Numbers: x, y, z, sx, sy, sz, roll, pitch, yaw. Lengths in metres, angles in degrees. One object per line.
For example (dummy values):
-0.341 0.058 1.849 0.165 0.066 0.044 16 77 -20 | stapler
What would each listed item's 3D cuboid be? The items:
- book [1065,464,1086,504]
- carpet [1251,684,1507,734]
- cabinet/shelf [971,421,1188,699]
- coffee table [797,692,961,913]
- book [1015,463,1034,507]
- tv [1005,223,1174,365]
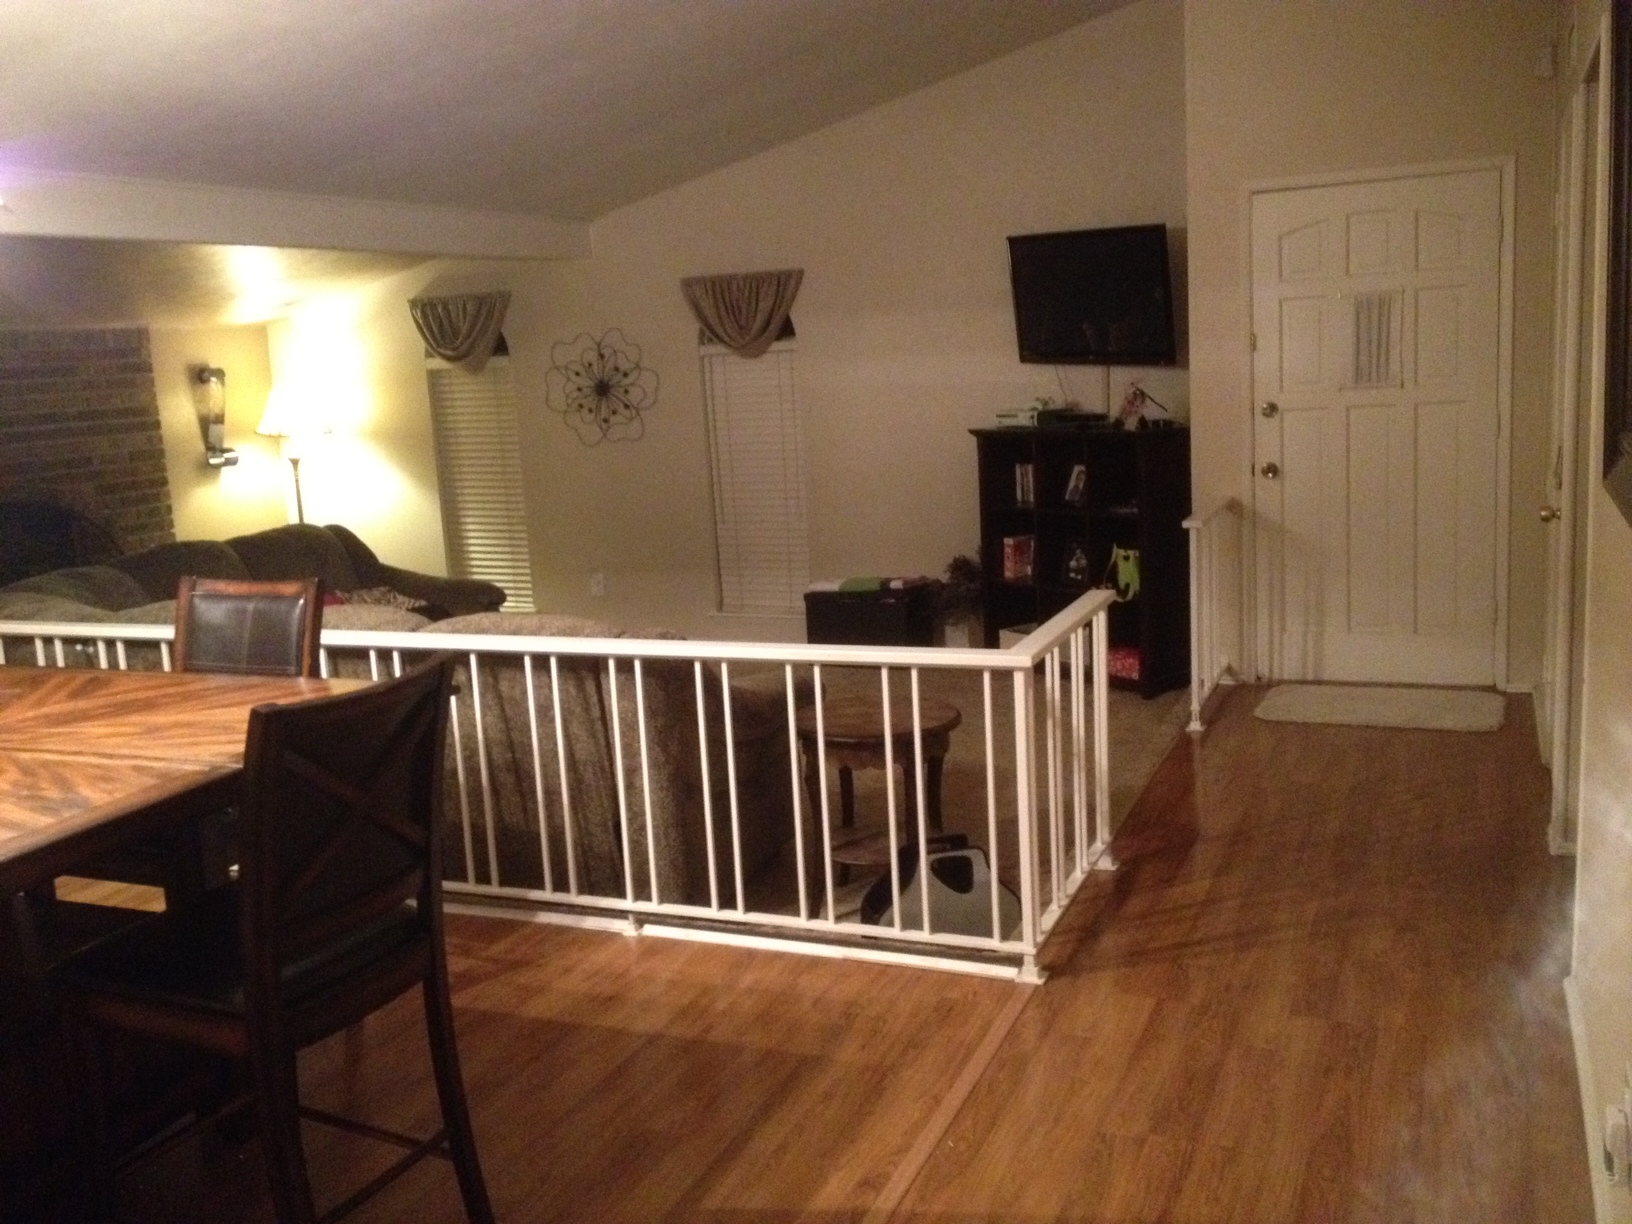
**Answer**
1.500 -0.743 6.854 0.023 0.235 0.204 3 -12 -24 | book
2.635 0.444 5.581 1.046 0.076 0.619 0 7 26 | carpet
1.515 -0.337 6.846 0.452 1.397 1.247 -9 10 -38 | cabinet/shelf
0.245 0.749 4.822 0.586 0.652 0.626 -2 5 38 | coffee table
1.239 -0.759 7.117 0.059 0.207 0.158 -2 2 -39 | book
1.616 -1.842 6.858 0.842 0.666 0.120 5 25 32 | tv
